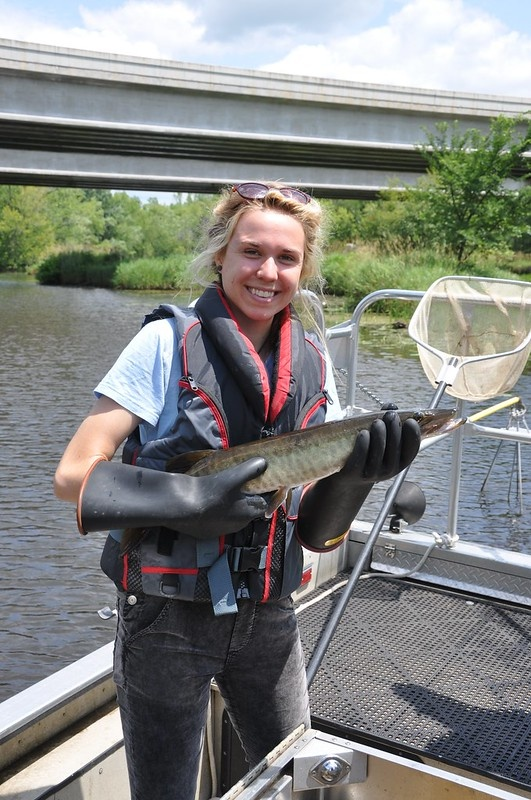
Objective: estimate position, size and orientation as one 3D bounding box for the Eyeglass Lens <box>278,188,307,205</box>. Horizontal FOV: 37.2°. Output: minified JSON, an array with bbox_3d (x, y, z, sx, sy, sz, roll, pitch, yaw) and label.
[{"bbox_3d":[0.072,-0.524,2.026,0.064,0.018,0.063,15,7,32],"label":"Eyeglass Lens"}]

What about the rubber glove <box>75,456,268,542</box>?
[{"bbox_3d":[-0.226,0.218,1.697,0.460,0.172,0.160,7,32,-16],"label":"rubber glove"}]
